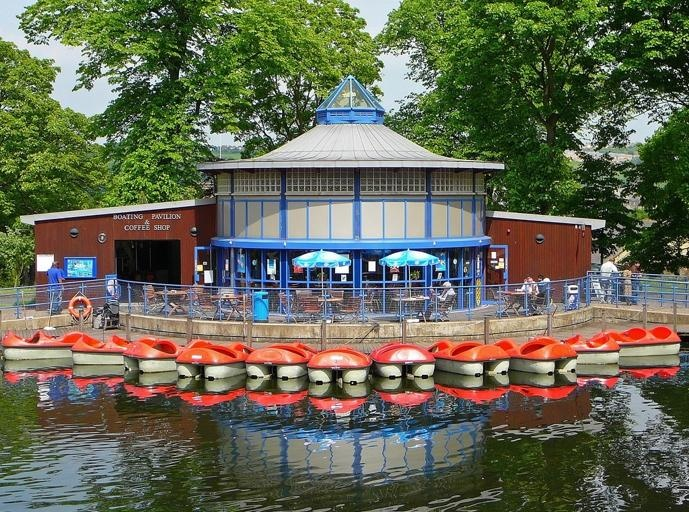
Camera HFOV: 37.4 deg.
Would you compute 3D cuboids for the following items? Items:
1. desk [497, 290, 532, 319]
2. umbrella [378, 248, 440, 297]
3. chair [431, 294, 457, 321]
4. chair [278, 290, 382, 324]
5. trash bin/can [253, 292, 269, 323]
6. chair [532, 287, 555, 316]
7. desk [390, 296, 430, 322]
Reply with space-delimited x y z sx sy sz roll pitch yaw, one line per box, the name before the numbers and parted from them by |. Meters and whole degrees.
desk | 7.816 2.186 46.742 1.534 1.405 0.964 -1 -1 8
umbrella | 2.858 0.791 47.287 1.982 0.654 2.008 -2 -8 18
chair | 4.505 2.337 45.747 1.173 1.179 0.879 1 -2 2
chair | -0.567 2.242 45.030 3.778 1.443 0.754 -4 -4 9
trash bin/can | -3.715 2.252 45.357 0.697 1.302 0.309 -2 -4 -6
chair | 8.987 2.089 46.772 1.099 1.380 1.070 1 0 -44
desk | 2.947 2.312 45.126 1.268 0.737 1.222 1 -6 -3
